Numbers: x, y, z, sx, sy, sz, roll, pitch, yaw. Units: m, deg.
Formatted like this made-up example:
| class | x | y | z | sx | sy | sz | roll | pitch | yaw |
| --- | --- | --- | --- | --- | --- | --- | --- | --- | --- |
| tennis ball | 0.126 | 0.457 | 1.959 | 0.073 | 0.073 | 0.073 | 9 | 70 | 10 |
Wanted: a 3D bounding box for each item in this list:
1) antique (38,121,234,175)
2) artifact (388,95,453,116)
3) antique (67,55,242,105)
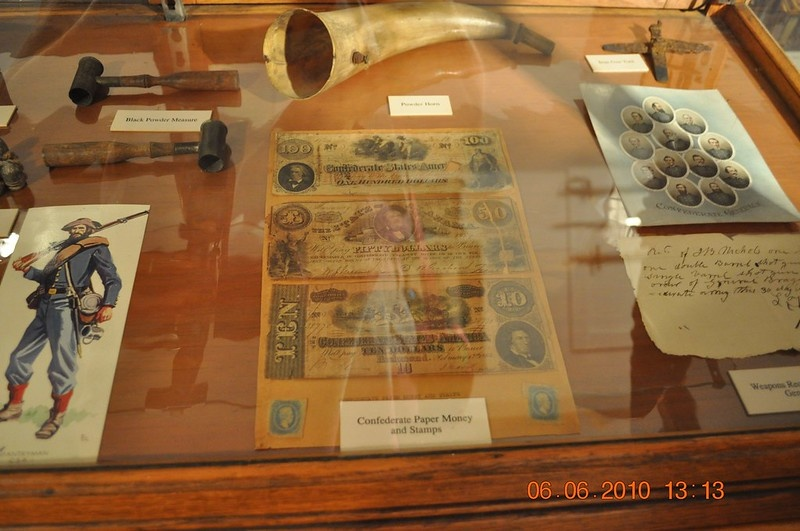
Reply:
| class | x | y | z | sx | sy | sz | roll | pitch | yaw |
| --- | --- | --- | --- | --- | --- | --- | --- | --- | --- |
| antique | -1.012 | -0.438 | 2.361 | 0.759 | 0.102 | 0.204 | -2 | 49 | -5 |
| artifact | 0.088 | -0.667 | 2.599 | 0.260 | 0.065 | 0.128 | -2 | 32 | -1 |
| antique | -1.013 | -0.755 | 2.573 | 0.739 | 0.104 | 0.231 | -1 | 28 | -6 |
